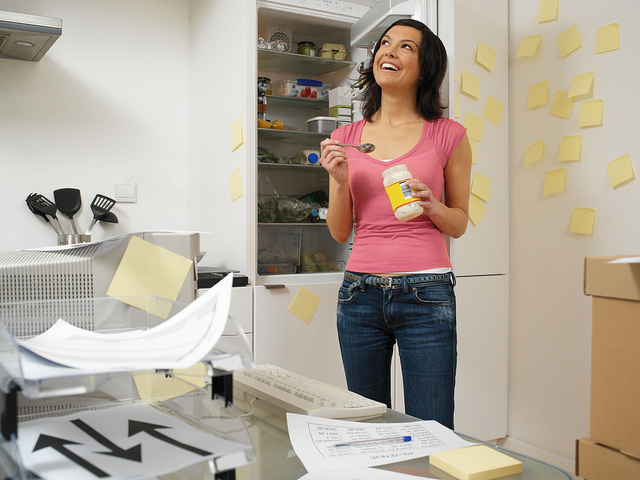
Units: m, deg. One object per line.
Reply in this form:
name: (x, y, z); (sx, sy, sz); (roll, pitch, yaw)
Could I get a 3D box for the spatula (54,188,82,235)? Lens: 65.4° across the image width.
spatula: (-1.227, -0.119, 2.459); (0.119, 0.047, 0.324); (-4, -34, -18)

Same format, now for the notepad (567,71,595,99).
notepad: (1.137, -0.661, 2.144); (0.045, 0.128, 0.139); (21, -13, -34)

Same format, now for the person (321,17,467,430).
person: (0.209, -0.078, 1.483); (0.375, 1.181, 0.426); (-1, 4, -45)

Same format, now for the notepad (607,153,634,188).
notepad: (1.231, -0.282, 2.030); (0.026, 0.103, 0.106); (-4, -19, -41)

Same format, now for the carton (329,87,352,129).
carton: (0.109, -0.686, 2.592); (0.144, 0.207, 0.081); (2, 3, 18)

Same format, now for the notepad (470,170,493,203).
notepad: (0.773, -0.248, 2.352); (0.131, 0.127, 0.030); (25, -25, -28)

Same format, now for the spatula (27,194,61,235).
spatula: (-1.240, -0.129, 2.283); (0.134, 0.054, 0.398); (-33, 38, -19)

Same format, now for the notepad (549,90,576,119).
notepad: (1.089, -0.599, 2.212); (0.016, 0.149, 0.118); (7, 13, -40)

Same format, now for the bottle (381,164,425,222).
bottle: (0.213, -0.122, 1.291); (0.083, 0.127, 0.081); (-17, -3, -1)

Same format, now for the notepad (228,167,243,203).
notepad: (-0.375, -0.245, 2.233); (0.008, 0.142, 0.146); (7, -17, -34)

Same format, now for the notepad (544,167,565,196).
notepad: (1.071, -0.262, 2.253); (0.012, 0.143, 0.138); (3, 0, -30)

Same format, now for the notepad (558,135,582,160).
notepad: (1.108, -0.402, 2.184); (0.040, 0.114, 0.119); (-2, 6, -36)

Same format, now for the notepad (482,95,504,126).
notepad: (0.830, -0.614, 2.382); (0.133, 0.124, 0.011); (28, -9, -36)

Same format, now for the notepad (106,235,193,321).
notepad: (-0.284, 0.060, 0.832); (0.137, 0.131, 0.033); (26, -9, -13)

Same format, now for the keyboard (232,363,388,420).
keyboard: (-0.042, 0.288, 0.957); (0.172, 0.036, 0.316); (-1, 4, -44)

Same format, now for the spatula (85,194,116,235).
spatula: (-1.118, -0.105, 2.516); (0.119, 0.048, 0.340); (31, -36, -24)

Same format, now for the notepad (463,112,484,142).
notepad: (0.723, -0.520, 2.322); (0.136, 0.127, 0.016); (-1, 3, -38)
